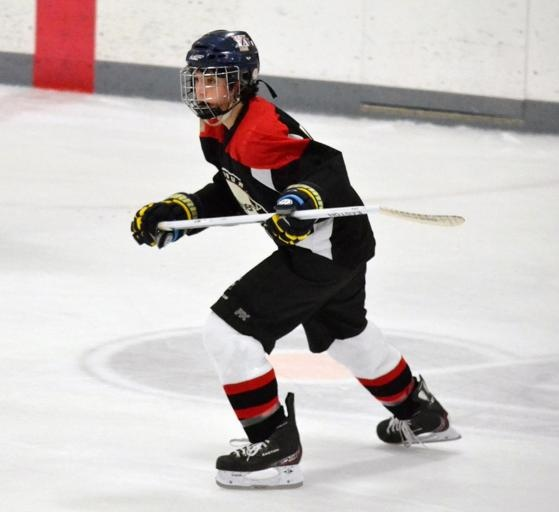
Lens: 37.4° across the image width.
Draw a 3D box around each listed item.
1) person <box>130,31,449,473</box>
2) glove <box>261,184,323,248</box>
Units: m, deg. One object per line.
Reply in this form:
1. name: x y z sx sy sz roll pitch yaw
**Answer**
1. person: 0.053 -0.040 2.375 0.681 1.194 0.604 -1 9 -39
2. glove: 0.032 -0.104 2.093 0.074 0.178 0.125 59 -3 -37
